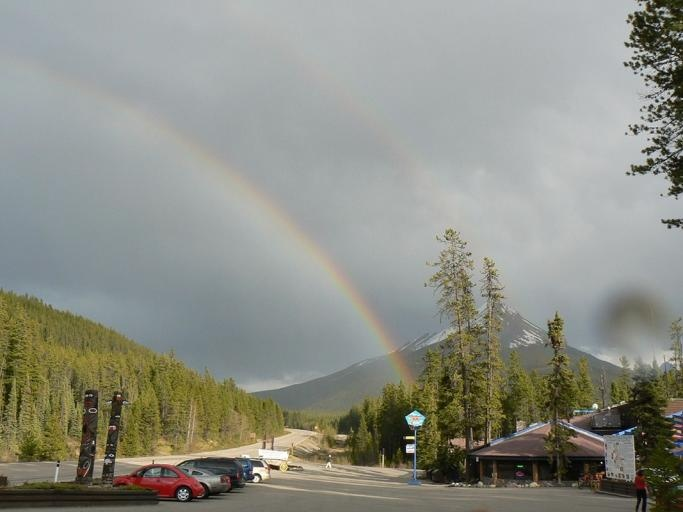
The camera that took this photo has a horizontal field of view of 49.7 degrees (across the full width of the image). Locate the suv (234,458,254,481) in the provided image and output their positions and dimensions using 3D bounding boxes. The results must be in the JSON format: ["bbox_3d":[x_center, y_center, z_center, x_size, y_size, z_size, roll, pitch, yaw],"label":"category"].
[{"bbox_3d":[-9.803,21.325,74.555,2.023,1.909,3.428,5,-9,-23],"label":"suv"}]

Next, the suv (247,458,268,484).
[{"bbox_3d":[-9.251,23.687,82.344,2.689,1.543,1.687,5,-17,-4],"label":"suv"}]
